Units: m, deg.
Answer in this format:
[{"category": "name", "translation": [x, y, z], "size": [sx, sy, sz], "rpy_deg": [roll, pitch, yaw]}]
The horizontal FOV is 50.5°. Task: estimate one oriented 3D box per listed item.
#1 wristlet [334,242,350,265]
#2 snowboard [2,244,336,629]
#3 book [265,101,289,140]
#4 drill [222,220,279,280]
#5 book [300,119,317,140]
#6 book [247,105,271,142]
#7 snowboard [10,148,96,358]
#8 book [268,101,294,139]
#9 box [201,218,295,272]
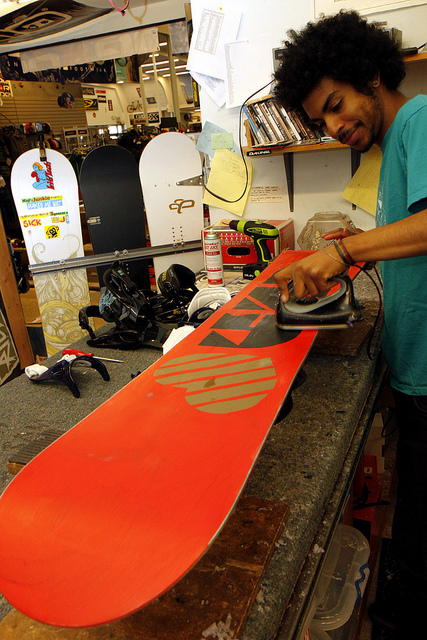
[{"category": "wristlet", "translation": [0.284, -0.147, 1.019], "size": [0.009, 0.039, 0.038], "rpy_deg": [-30, 14, 10]}, {"category": "snowboard", "translation": [0.141, 0.130, 1.130], "size": [0.315, 0.202, 1.410], "rpy_deg": [3, 28, 28]}, {"category": "book", "translation": [0.295, -0.922, 2.097], "size": [0.031, 0.139, 0.132], "rpy_deg": [-28, 36, 15]}, {"category": "drill", "translation": [0.167, -0.319, 2.090], "size": [0.263, 0.277, 0.069], "rpy_deg": [1, 13, 23]}, {"category": "book", "translation": [0.420, -0.841, 1.992], "size": [0.067, 0.090, 0.091], "rpy_deg": [-5, 19, 13]}, {"category": "book", "translation": [0.220, -0.937, 2.138], "size": [0.020, 0.192, 0.105], "rpy_deg": [-37, 26, 7]}, {"category": "snowboard", "translation": [-1.147, -0.544, 3.351], "size": [0.527, 2.213, 0.465], "rpy_deg": [-9, 22, -24]}, {"category": "book", "translation": [0.312, -0.913, 2.094], "size": [0.032, 0.140, 0.138], "rpy_deg": [-31, 53, 9]}, {"category": "box", "translation": [0.156, -0.374, 2.360], "size": [0.472, 0.281, 0.266], "rpy_deg": [3, 25, 26]}]
